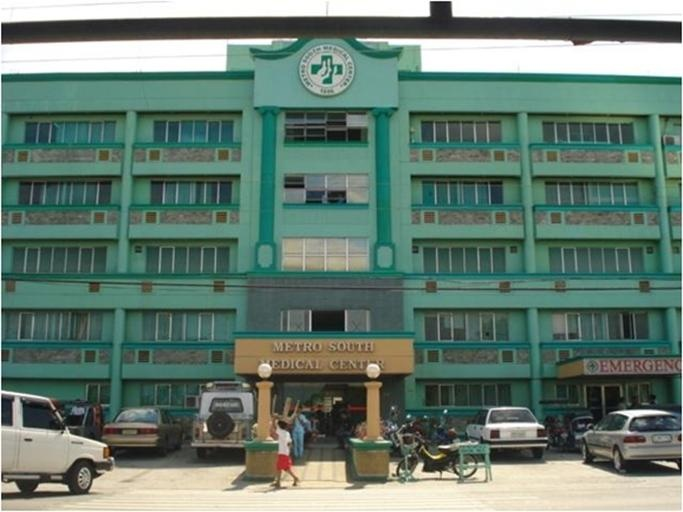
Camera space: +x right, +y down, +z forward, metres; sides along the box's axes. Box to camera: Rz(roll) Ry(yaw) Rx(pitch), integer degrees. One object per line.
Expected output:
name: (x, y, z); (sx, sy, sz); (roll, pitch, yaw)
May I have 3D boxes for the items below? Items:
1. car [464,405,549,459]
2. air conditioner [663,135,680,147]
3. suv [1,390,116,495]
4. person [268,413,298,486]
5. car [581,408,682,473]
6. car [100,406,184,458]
car: (7.073, 7.601, 40.943); (3.627, 2.028, 3.090); (1, -7, 2)
air conditioner: (18.557, -6.481, 53.765); (1.247, 0.608, 0.597); (1, -8, 2)
suv: (-10.151, 6.491, 33.072); (4.177, 3.330, 3.801); (4, -7, -31)
person: (-1.970, 7.145, 34.185); (1.369, 2.406, 1.021); (11, -6, -16)
car: (11.153, 7.175, 36.745); (3.841, 2.248, 3.339); (-1, -7, 13)
car: (-8.974, 7.925, 43.378); (2.724, 1.602, 5.771); (2, -7, 2)
